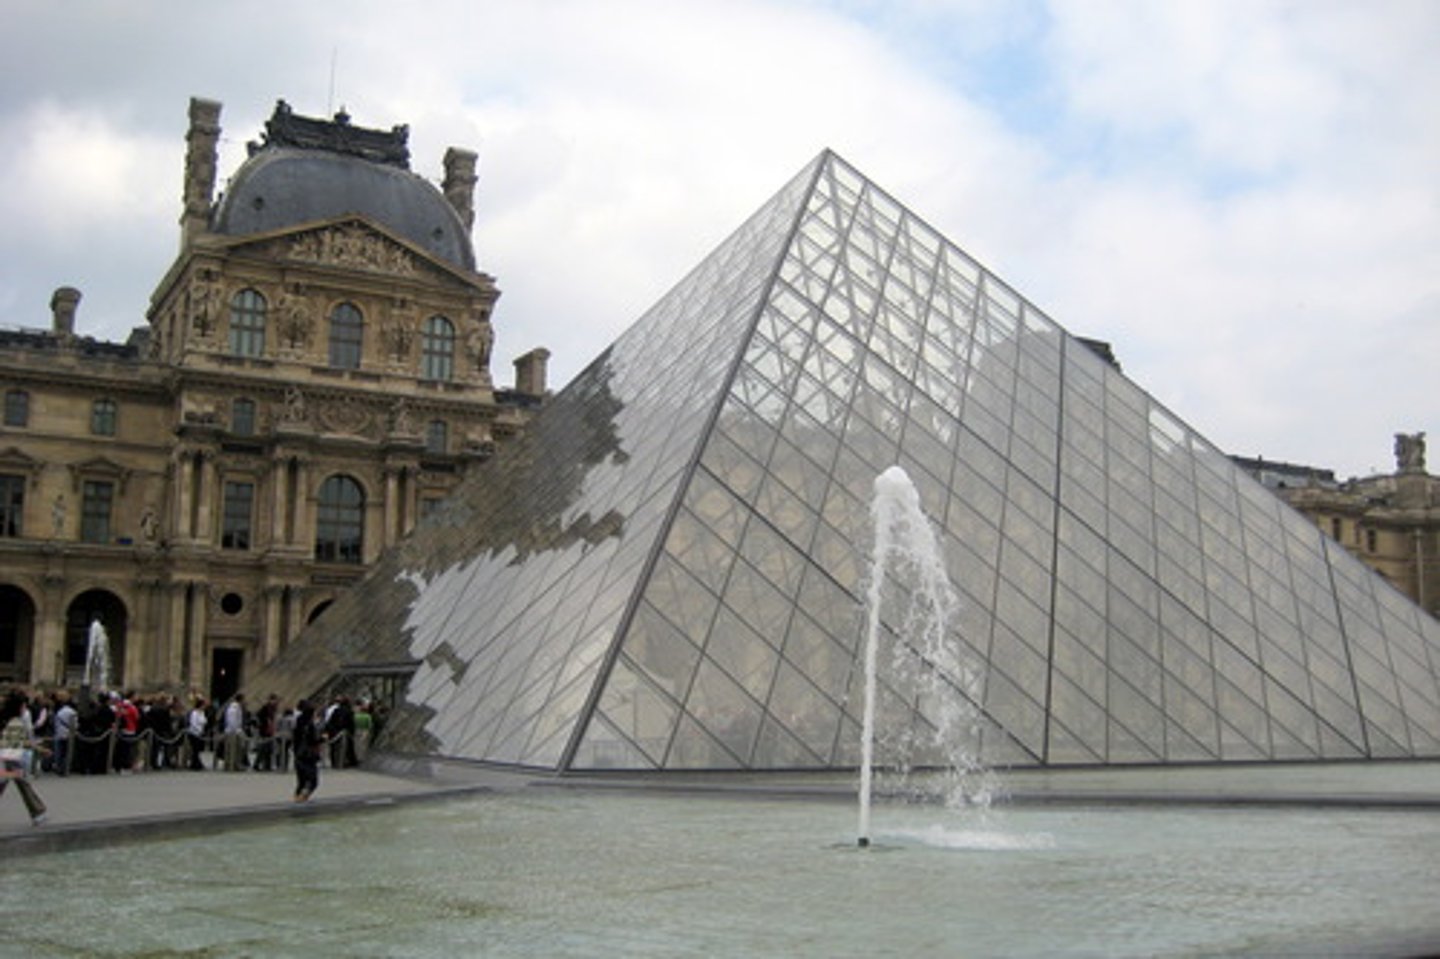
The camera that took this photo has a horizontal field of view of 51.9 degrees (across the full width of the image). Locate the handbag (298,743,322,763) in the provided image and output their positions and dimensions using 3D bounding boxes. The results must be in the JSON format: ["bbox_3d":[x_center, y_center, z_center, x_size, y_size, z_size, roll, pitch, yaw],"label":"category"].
[{"bbox_3d":[-6.213,4.218,22.720,0.349,0.133,0.355,1,0,-37],"label":"handbag"}]
